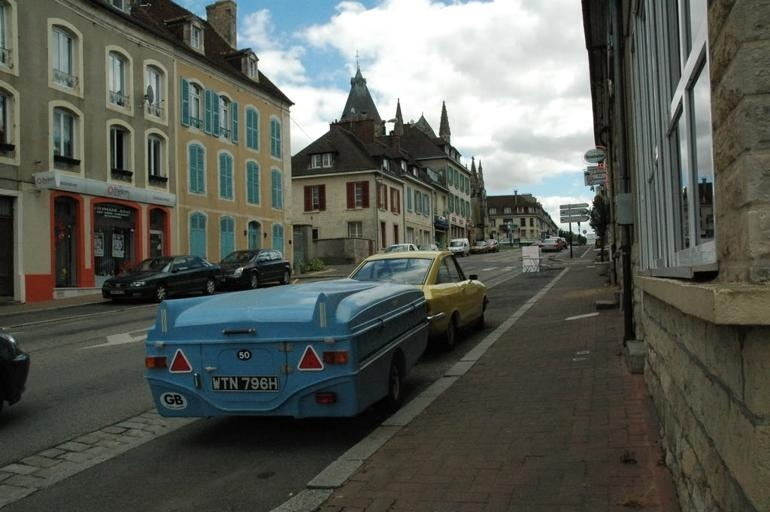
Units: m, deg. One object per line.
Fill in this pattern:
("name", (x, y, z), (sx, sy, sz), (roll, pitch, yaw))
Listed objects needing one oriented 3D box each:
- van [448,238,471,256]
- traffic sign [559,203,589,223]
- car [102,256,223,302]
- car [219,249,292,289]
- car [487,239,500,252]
("van", (5.883, -0.801, 60.077), (1.464, 1.302, 2.462), (-2, -4, 17))
("traffic sign", (7.532, -1.659, 29.042), (1.004, 0.905, 2.779), (-2, 7, 13))
("car", (-6.830, 0.719, 22.630), (1.372, 1.087, 3.376), (-3, -3, 22))
("car", (-4.942, 0.494, 26.798), (1.154, 0.918, 2.638), (-4, -5, 20))
("car", (10.750, -0.979, 73.753), (1.057, 0.731, 2.061), (-3, -6, 12))
